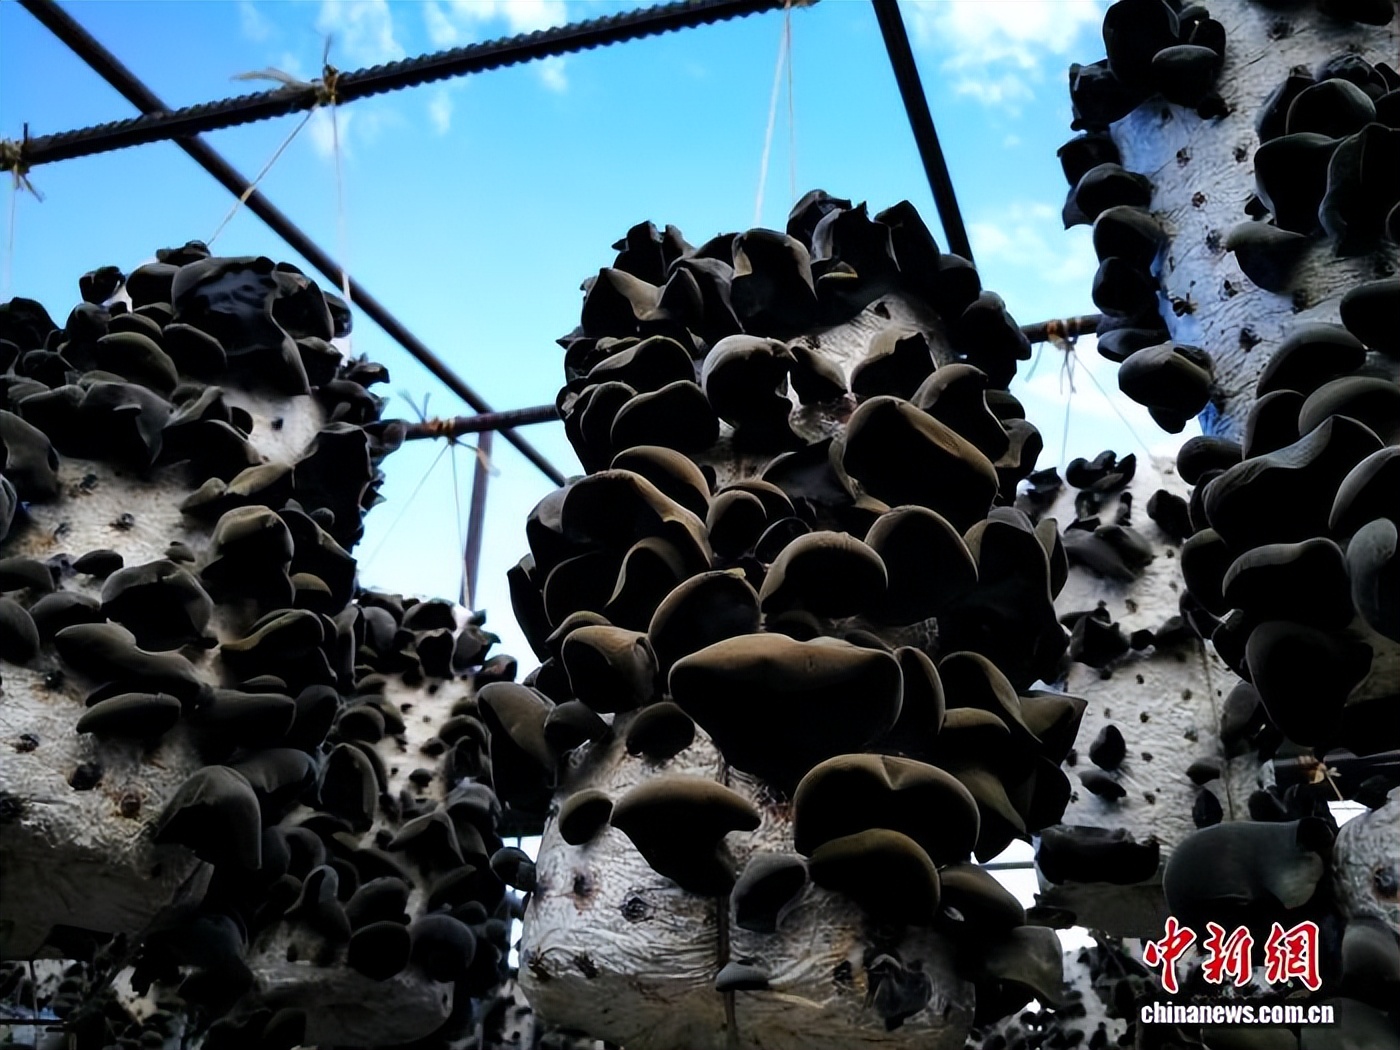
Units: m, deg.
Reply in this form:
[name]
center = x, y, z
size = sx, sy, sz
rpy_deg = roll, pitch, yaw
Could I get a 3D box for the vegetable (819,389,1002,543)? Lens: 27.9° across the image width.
[vegetable]
center = 0.686, -0.191, 8.994
size = 0.538, 0.151, 0.317
rpy_deg = 28, -70, -5
